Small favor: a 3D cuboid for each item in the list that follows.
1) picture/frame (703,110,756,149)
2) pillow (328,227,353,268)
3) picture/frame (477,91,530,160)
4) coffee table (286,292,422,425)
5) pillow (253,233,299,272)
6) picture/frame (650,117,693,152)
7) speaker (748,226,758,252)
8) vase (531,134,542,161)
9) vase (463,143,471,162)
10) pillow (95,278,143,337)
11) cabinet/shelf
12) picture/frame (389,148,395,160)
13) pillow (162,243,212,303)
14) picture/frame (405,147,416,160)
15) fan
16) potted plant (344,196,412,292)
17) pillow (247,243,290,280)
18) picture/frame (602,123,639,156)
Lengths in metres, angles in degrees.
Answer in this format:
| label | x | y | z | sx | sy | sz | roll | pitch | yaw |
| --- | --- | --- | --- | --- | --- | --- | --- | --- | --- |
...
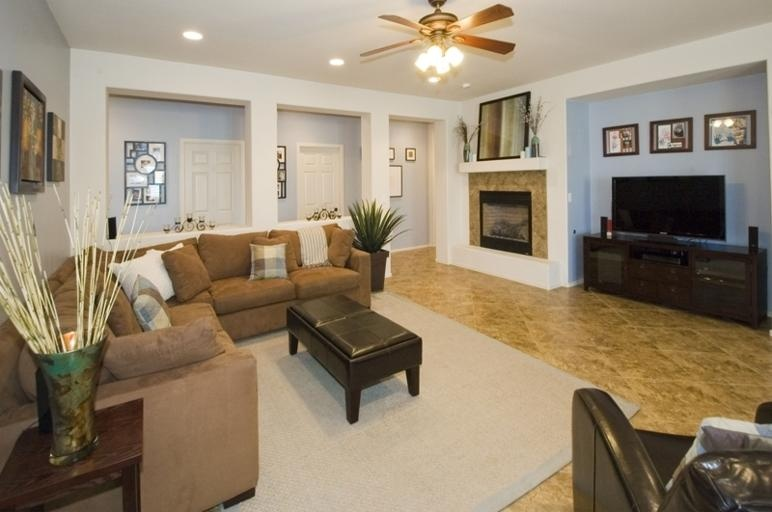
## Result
| label | x | y | z | sx | sy | sz | roll | pitch | yaw |
| --- | --- | --- | --- | --- | --- | --- | --- | --- | --- |
| picture/frame | 4.048 | -1.471 | 5.732 | 0.054 | 0.441 | 0.503 | 1 | 2 | -42 |
| pillow | -0.563 | -0.092 | 6.151 | 0.395 | 0.402 | 0.163 | -2 | -18 | 33 |
| picture/frame | 1.811 | -1.961 | 7.395 | 0.075 | 1.065 | 1.047 | -8 | 10 | -36 |
| coffee table | -0.355 | 0.845 | 4.672 | 0.804 | 0.604 | 1.395 | -9 | 19 | -30 |
| pillow | -1.317 | -0.049 | 5.975 | 0.177 | 0.454 | 0.453 | -9 | -4 | 27 |
| picture/frame | 3.634 | -1.526 | 6.188 | 0.036 | 0.425 | 0.485 | -7 | 7 | -34 |
| speaker | 3.964 | -0.173 | 5.267 | 0.088 | 0.250 | 0.129 | 2 | 14 | 16 |
| vase | 2.126 | -1.549 | 6.977 | 0.135 | 0.290 | 0.165 | 6 | 16 | 32 |
| vase | 1.345 | -1.670 | 7.985 | 0.117 | 0.276 | 0.090 | -6 | 14 | -13 |
| pillow | -1.898 | 0.384 | 3.492 | 0.145 | 0.393 | 0.415 | -25 | 13 | -23 |
| cabinet/shelf | 3.442 | 0.224 | 5.895 | 0.322 | 0.814 | 1.878 | -14 | 18 | -41 |
| picture/frame | 0.140 | -1.940 | 9.381 | 0.056 | 0.253 | 0.166 | 7 | 16 | 33 |
| pillow | -2.042 | 0.155 | 5.124 | 0.324 | 0.524 | 0.614 | -1 | 12 | 6 |
| picture/frame | 0.470 | -1.991 | 9.607 | 0.263 | 0.263 | 0.018 | -3 | 5 | -39 |
| fan | 0.605 | -2.001 | 4.344 | 0.864 | 0.260 | 0.822 | -5 | 13 | -27 |
| potted plant | -0.105 | -0.075 | 6.788 | 0.681 | 1.129 | 0.910 | -3 | 5 | -16 |
| pillow | -1.361 | 0.072 | 5.595 | 0.395 | 0.379 | 0.142 | -1 | -21 | -19 |
| picture/frame | 3.217 | -1.576 | 6.665 | 0.038 | 0.469 | 0.486 | -2 | 4 | -36 |
